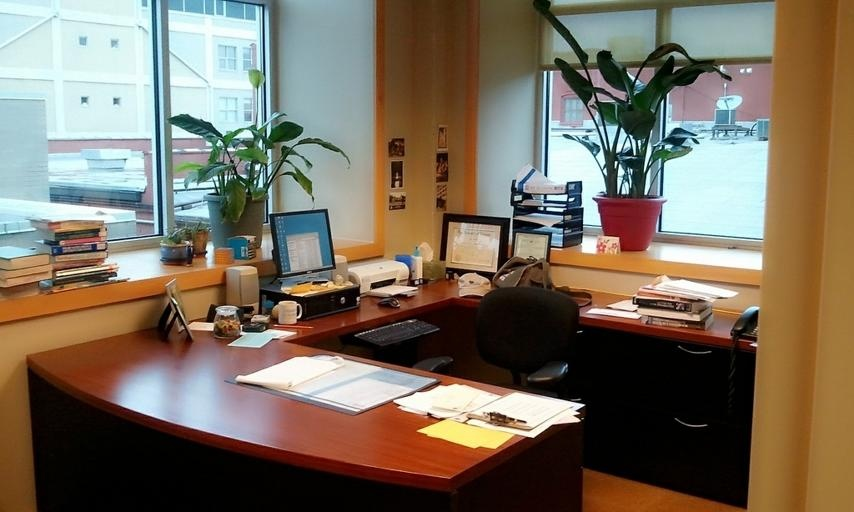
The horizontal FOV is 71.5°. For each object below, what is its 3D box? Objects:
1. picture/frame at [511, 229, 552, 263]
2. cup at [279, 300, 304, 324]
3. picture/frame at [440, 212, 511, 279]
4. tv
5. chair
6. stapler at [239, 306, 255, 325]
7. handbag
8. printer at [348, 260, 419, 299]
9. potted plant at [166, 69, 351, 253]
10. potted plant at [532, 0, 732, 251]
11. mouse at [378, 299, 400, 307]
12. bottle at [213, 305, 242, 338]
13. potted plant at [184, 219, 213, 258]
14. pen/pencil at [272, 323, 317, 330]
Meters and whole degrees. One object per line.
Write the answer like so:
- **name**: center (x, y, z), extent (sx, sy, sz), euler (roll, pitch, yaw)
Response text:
- **picture/frame**: center (0.719, -0.061, 3.990), extent (0.248, 0.213, 0.026), euler (4, 0, 36)
- **cup**: center (-0.754, 0.309, 3.228), extent (0.101, 0.103, 0.150), euler (-1, -3, 27)
- **picture/frame**: center (0.345, -0.057, 4.136), extent (0.503, 0.384, 0.037), euler (3, 0, 26)
- **tv**: center (-0.747, -0.040, 3.526), extent (0.048, 0.400, 0.488), euler (-8, -2, 41)
- **chair**: center (0.445, 0.415, 3.405), extent (0.778, 0.768, 0.707), euler (4, 4, 31)
- **stapler**: center (-0.993, 0.328, 3.272), extent (0.091, 0.077, 0.087), euler (1, 11, 15)
- **handbag**: center (0.729, 0.134, 3.753), extent (0.510, 0.183, 0.315), euler (7, 6, 20)
- **printer**: center (-0.287, 0.127, 3.841), extent (0.293, 0.094, 0.297), euler (8, 10, 43)
- **potted plant**: center (-1.118, -0.649, 3.809), extent (0.823, 1.111, 1.000), euler (2, 11, 17)
- **potted plant**: center (1.346, -0.808, 3.933), extent (0.992, 1.519, 0.713), euler (3, 12, 22)
- **mouse**: center (-0.221, 0.277, 3.570), extent (0.091, 0.025, 0.057), euler (3, 7, 26)
- **bottle**: center (-1.034, 0.347, 3.079), extent (0.163, 0.151, 0.157), euler (0, -2, 14)
- **potted plant**: center (-1.363, -0.106, 3.605), extent (0.217, 0.220, 0.224), euler (1, 1, -36)
- **pen/pencil**: center (-0.717, 0.380, 3.193), extent (0.190, 0.013, 0.013), euler (4, -4, 10)
